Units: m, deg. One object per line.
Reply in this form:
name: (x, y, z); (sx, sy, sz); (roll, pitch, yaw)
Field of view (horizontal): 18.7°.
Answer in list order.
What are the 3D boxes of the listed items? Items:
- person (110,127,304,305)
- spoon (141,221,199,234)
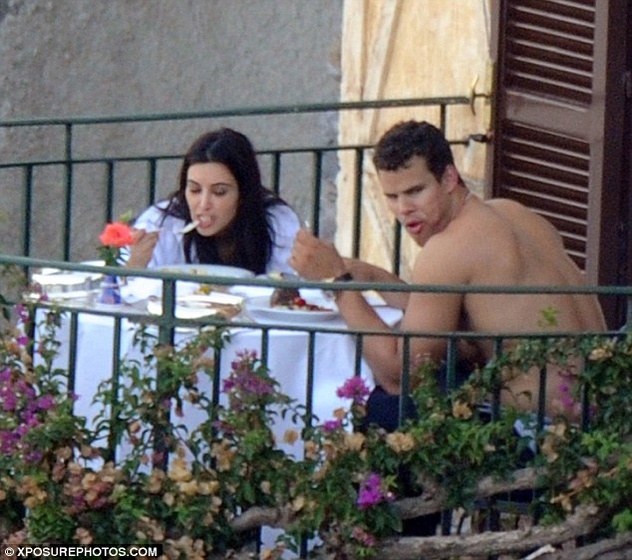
person: (-0.506, -0.318, 8.974); (0.777, 0.946, 0.673); (1, 3, 4)
spoon: (-0.623, -0.230, 8.516); (0.164, 0.042, 0.104); (-4, 2, -2)
